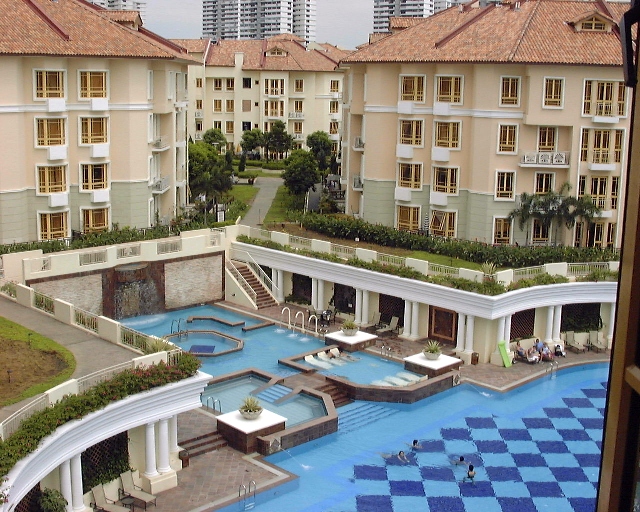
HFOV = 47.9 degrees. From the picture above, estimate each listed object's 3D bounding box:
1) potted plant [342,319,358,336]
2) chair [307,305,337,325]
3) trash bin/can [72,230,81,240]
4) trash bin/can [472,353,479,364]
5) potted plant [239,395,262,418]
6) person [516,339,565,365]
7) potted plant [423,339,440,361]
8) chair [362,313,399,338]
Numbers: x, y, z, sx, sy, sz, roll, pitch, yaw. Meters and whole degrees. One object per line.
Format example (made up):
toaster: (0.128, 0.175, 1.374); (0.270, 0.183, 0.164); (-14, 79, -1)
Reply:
potted plant: (1.716, 4.154, 42.104); (0.710, 0.675, 0.793); (-1, 8, -4)
chair: (0.379, 3.834, 46.303); (1.077, 0.985, 1.350); (3, -2, 40)
trash bin/can: (-16.192, -1.411, 47.924); (0.638, 0.350, 3.407); (-5, 10, -19)
trash bin/can: (8.755, 5.703, 40.362); (0.627, 0.639, 0.213); (-9, 11, -41)
potted plant: (-3.063, 6.732, 32.157); (0.713, 0.686, 0.902); (0, 4, 3)
person: (12.390, 5.507, 41.075); (1.490, 0.911, 2.129); (-6, 8, -36)
potted plant: (6.134, 5.093, 39.092); (0.763, 0.809, 0.924); (4, 8, 23)
chair: (3.894, 4.194, 44.066); (1.880, 1.066, 1.036); (-1, 8, 6)
